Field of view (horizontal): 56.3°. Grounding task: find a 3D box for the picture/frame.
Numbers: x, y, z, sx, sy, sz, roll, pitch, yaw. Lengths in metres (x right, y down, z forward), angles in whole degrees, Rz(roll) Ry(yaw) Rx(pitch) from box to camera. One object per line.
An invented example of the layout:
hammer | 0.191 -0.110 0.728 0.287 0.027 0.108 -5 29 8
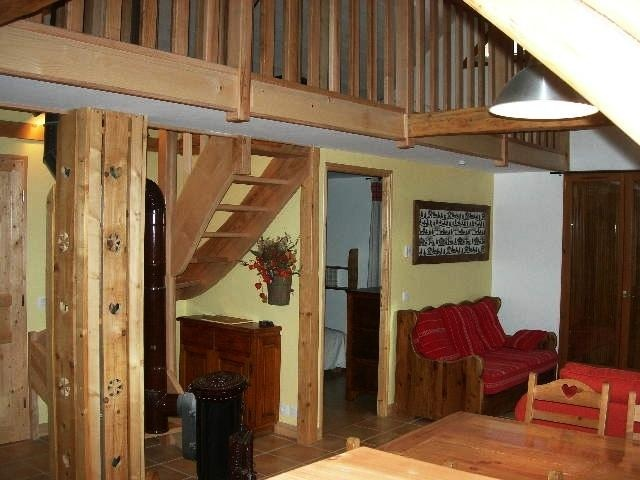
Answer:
picture/frame | 1.568 -0.092 6.966 1.159 0.708 0.027 0 4 -31

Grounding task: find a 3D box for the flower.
flower | -0.406 0.208 5.558 0.583 0.738 0.607 0 6 0

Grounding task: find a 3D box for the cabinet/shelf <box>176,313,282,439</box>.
cabinet/shelf | -0.896 1.265 5.732 0.989 1.020 0.377 4 5 30

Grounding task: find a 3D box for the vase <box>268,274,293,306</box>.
vase | -0.353 0.441 5.336 0.231 0.319 0.252 0 -2 -4
